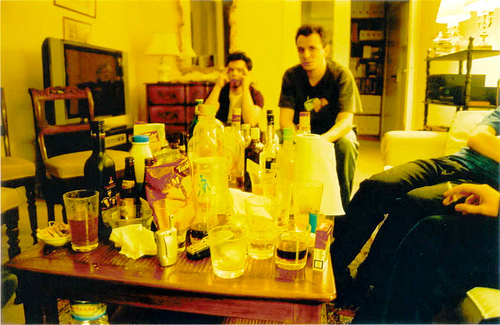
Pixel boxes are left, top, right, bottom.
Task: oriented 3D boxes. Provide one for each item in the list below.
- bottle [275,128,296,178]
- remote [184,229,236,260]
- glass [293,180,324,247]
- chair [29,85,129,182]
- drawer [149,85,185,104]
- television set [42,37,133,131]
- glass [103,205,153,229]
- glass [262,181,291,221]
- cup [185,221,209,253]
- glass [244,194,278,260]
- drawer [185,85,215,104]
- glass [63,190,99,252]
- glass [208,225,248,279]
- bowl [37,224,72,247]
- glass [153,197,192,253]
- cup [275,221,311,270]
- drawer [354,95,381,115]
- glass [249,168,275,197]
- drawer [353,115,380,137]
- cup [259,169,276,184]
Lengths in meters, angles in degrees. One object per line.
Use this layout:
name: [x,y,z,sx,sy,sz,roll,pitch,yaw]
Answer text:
bottle: [0.198,-0.053,2.066,0.108,0.257,0.136,-3,12,4]
remote: [-0.170,0.371,1.786,0.203,0.060,0.282,21,-8,-8]
glass: [0.257,0.267,1.844,0.178,0.328,0.173,6,-3,7]
chair: [-1.478,-0.127,3.315,0.636,0.875,0.692,-13,26,-39]
drawer: [-1.030,-0.828,4.749,0.449,0.256,0.225,2,17,2]
television set: [-1.628,-0.762,3.782,0.352,0.891,1.313,1,7,15]
glass: [-0.582,0.257,1.870,0.160,0.060,0.151,-2,7,-21]
glass: [0.158,0.175,1.939,0.184,0.258,0.179,-2,8,4]
cup: [-0.245,0.354,1.858,0.124,0.180,0.116,2,-21,1]
glass: [0.056,0.303,1.809,0.128,0.274,0.149,0,11,1]
drawer: [-0.615,-0.834,4.740,0.364,0.226,0.212,-6,12,-14]
glass: [-0.806,0.265,1.831,0.131,0.323,0.123,-4,13,-42]
glass: [-0.082,0.397,1.723,0.194,0.193,0.189,5,0,9]
bowl: [-0.945,0.340,1.853,0.132,0.057,0.125,3,14,-1]
glass: [-0.347,0.278,1.813,0.181,0.230,0.084,-7,13,-16]
cup: [0.205,0.386,1.782,0.190,0.198,0.186,5,-6,1]
drawer: [2.269,-1.070,7.260,0.462,0.370,0.203,0,13,16]
glass: [0.050,0.092,1.948,0.137,0.140,0.131,2,12,14]
drawer: [2.219,-0.700,7.431,0.606,0.493,0.346,-2,10,-15]
cup: [0.096,0.073,1.962,0.073,0.070,0.069,0,1,0]
